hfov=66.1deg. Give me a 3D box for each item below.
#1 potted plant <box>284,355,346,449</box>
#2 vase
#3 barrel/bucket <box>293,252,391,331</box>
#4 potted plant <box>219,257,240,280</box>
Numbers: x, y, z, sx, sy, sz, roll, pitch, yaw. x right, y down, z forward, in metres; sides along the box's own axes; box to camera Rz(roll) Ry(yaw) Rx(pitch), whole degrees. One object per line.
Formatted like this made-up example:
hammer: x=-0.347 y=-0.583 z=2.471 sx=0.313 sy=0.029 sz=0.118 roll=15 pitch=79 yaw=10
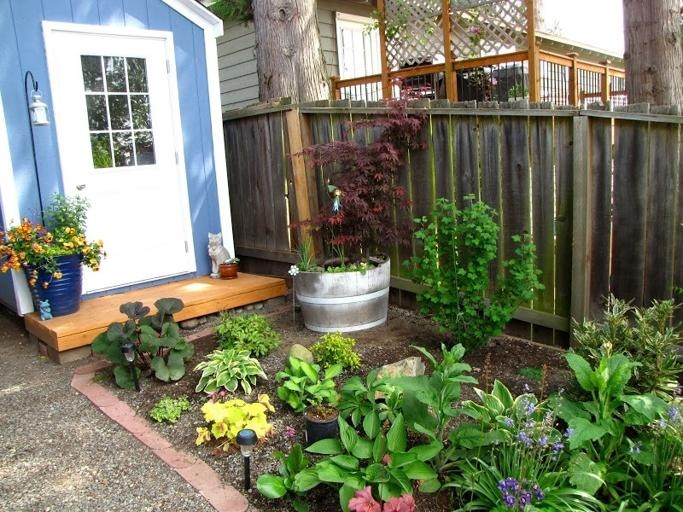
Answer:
potted plant: x=-0.274 y=0.996 z=3.728 sx=0.475 sy=0.501 sz=0.646 roll=12 pitch=4 yaw=-13
vase: x=-2.643 y=0.227 z=5.002 sx=0.466 sy=0.583 sz=0.537 roll=-3 pitch=11 yaw=-19
barrel/bucket: x=0.103 y=0.383 z=5.176 sx=0.811 sy=0.548 sz=0.805 roll=-8 pitch=6 yaw=1
potted plant: x=-1.305 y=0.136 z=6.116 sx=0.188 sy=0.193 sz=0.196 roll=-2 pitch=-2 yaw=-6
